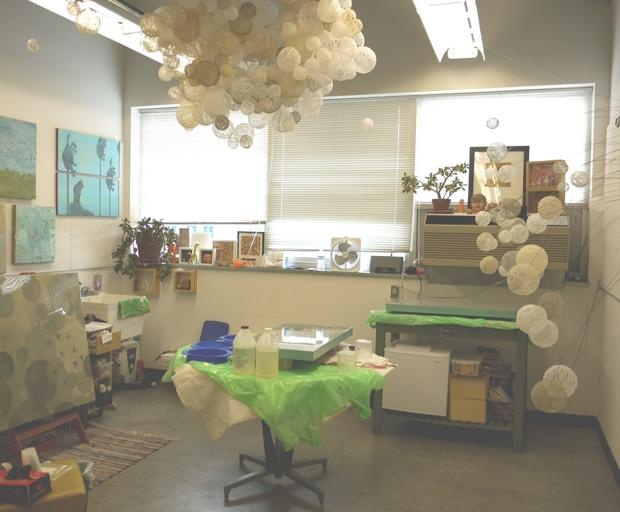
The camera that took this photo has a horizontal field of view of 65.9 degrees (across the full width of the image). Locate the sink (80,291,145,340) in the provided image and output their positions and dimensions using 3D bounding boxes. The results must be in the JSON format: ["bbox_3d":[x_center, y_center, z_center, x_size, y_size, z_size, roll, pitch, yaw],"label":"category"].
[{"bbox_3d":[-2.195,0.676,5.387,0.532,0.377,0.558,2,2,26],"label":"sink"}]

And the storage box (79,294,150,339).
[{"bbox_3d":[-2.219,0.696,5.387,0.637,0.396,0.642,2,2,45],"label":"storage box"}]

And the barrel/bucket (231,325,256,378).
[{"bbox_3d":[-0.425,0.605,3.083,0.146,0.296,0.137,1,4,0],"label":"barrel/bucket"}]

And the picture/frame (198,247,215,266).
[{"bbox_3d":[-1.269,0.015,5.865,0.252,0.286,0.146,1,1,14],"label":"picture/frame"}]

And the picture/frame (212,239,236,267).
[{"bbox_3d":[-1.041,-0.015,5.831,0.272,0.361,0.047,0,-2,13],"label":"picture/frame"}]

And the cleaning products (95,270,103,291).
[{"bbox_3d":[-2.533,0.313,5.718,0.103,0.222,0.201,-1,5,-23],"label":"cleaning products"}]

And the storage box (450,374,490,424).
[{"bbox_3d":[1.509,1.375,4.499,0.445,0.379,0.451,17,-20,-32],"label":"storage box"}]

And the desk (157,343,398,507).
[{"bbox_3d":[-0.249,0.997,3.395,1.107,0.832,1.202,1,8,3],"label":"desk"}]

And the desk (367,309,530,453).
[{"bbox_3d":[1.343,1.128,4.690,1.394,1.380,0.796,1,3,16],"label":"desk"}]

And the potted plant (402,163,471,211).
[{"bbox_3d":[1.378,-0.673,5.011,0.450,0.456,0.597,4,3,18],"label":"potted plant"}]

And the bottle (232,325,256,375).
[{"bbox_3d":[-0.424,0.604,3.083,0.146,0.295,0.137,1,4,0],"label":"bottle"}]

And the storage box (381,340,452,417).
[{"bbox_3d":[1.040,1.088,4.624,0.577,0.671,0.620,1,-1,23],"label":"storage box"}]

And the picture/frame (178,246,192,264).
[{"bbox_3d":[-1.574,-0.004,5.955,0.166,0.197,0.043,1,-4,17],"label":"picture/frame"}]

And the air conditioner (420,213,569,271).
[{"bbox_3d":[1.570,-0.117,4.747,1.016,0.608,0.432,0,19,12],"label":"air conditioner"}]

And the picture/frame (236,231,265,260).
[{"bbox_3d":[-0.714,-0.106,5.823,0.288,0.339,0.032,1,-6,4],"label":"picture/frame"}]

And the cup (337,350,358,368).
[{"bbox_3d":[0.258,0.725,3.367,0.094,0.082,0.102,0,-1,0],"label":"cup"}]

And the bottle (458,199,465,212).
[{"bbox_3d":[1.475,-0.482,4.656,0.036,0.129,0.098,2,5,12],"label":"bottle"}]

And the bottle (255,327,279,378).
[{"bbox_3d":[-0.275,0.632,3.068,0.160,0.321,0.168,5,3,0],"label":"bottle"}]

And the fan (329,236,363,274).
[{"bbox_3d":[0.393,-0.014,5.296,0.328,0.367,0.086,1,3,21],"label":"fan"}]
